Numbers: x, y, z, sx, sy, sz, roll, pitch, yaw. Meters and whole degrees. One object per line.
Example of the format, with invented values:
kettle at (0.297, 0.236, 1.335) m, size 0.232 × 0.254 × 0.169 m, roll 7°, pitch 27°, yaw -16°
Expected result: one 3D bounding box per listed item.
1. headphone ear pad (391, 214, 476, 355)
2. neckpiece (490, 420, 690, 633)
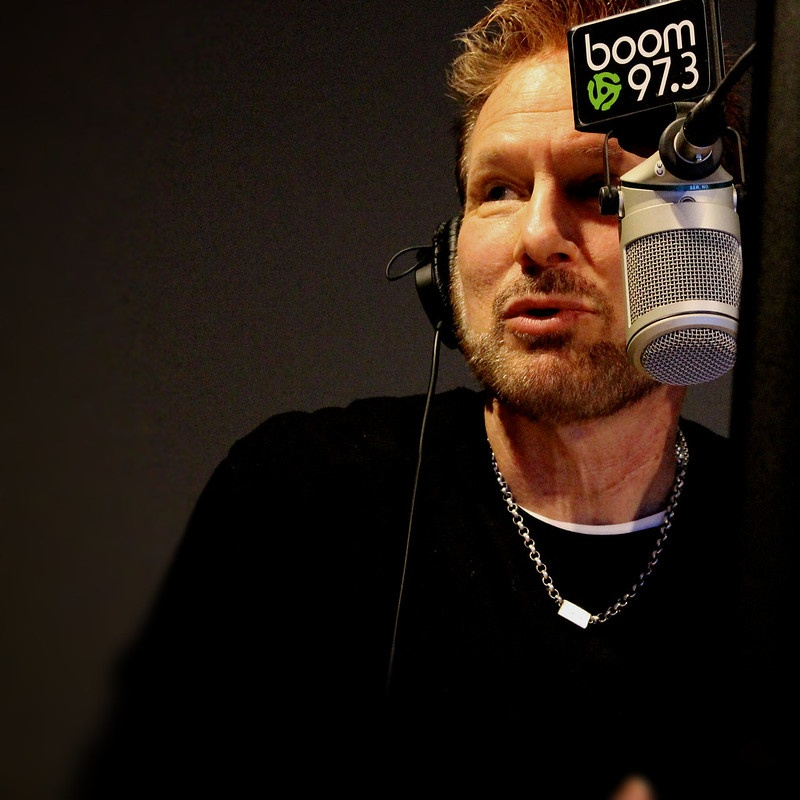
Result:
headphone ear pad at (0.061, -0.210, 1.740) m, size 0.143 × 0.221 × 0.060 m, roll -19°, pitch 21°, yaw -34°
neckpiece at (0.332, 0.200, 1.670) m, size 0.334 × 0.243 × 0.228 m, roll -12°, pitch 11°, yaw 3°
